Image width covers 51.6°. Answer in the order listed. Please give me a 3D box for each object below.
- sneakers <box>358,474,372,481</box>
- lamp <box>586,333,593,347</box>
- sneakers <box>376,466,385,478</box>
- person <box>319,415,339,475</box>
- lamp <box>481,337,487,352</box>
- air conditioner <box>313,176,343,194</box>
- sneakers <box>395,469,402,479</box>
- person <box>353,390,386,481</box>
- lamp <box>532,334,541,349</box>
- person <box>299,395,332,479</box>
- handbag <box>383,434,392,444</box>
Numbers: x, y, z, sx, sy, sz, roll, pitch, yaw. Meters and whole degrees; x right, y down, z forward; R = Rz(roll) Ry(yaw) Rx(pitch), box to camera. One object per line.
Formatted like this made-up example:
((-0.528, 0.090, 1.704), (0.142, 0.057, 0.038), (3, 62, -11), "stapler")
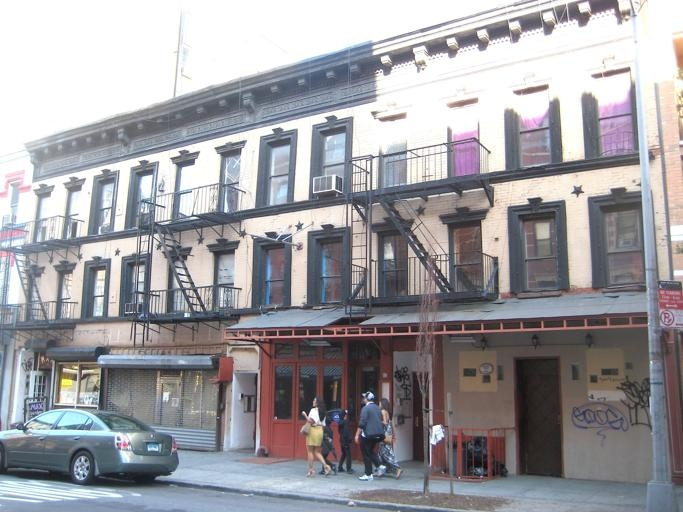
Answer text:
((0.620, 5.816, 18.497), (0.374, 0.155, 0.127), (-2, -16, 12), "sneakers")
((6.652, 2.224, 18.942), (0.212, 0.359, 0.100), (-5, -13, 15), "lamp")
((1.050, 5.786, 18.945), (0.179, 0.411, 0.149), (4, 34, -11), "sneakers")
((-0.376, 5.369, 20.004), (0.745, 0.987, 1.729), (5, 8, 7), "person")
((3.974, 2.477, 20.119), (0.163, 0.352, 0.398), (-1, 1, 38), "lamp")
((-0.490, -2.340, 23.008), (0.968, 0.619, 0.530), (-8, -13, 25), "air conditioner")
((1.514, 5.772, 18.801), (0.132, 0.304, 0.104), (19, 18, 32), "sneakers")
((0.772, 4.744, 18.667), (0.707, 2.236, 0.816), (-3, -12, 2), "person")
((5.374, 2.338, 19.536), (0.248, 0.376, 0.176), (-7, -13, 21), "lamp")
((-0.716, 4.904, 19.261), (0.718, 2.071, 1.321), (-2, -12, -2), "person")
((1.237, 4.847, 18.784), (0.230, 0.222, 0.394), (-2, 3, 16), "handbag")
